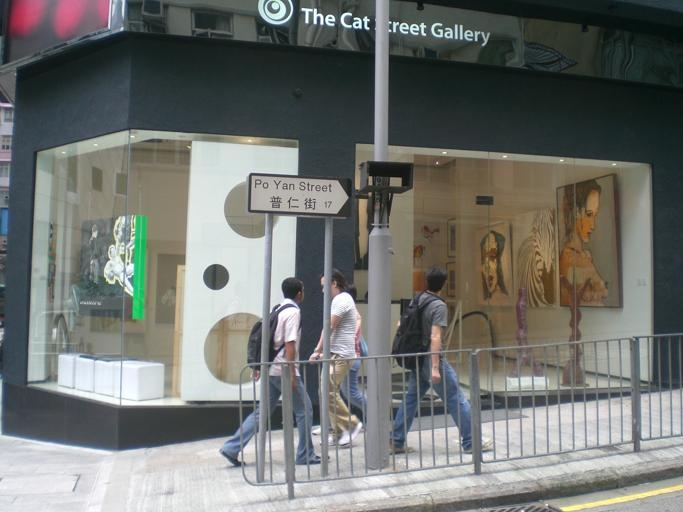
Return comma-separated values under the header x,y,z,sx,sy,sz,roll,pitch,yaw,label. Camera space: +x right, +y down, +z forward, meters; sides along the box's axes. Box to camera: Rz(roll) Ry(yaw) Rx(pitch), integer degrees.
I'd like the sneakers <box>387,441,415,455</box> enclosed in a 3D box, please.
x,y,z,sx,sy,sz,roll,pitch,yaw,label
0.758,2.359,8.972,0.387,0.178,0.133,1,-2,-24,sneakers

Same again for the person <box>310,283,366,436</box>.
x,y,z,sx,sy,sz,roll,pitch,yaw,label
-0.063,1.395,9.495,0.804,2.675,0.859,-1,-29,5,person

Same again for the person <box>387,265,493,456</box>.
x,y,z,sx,sy,sz,roll,pitch,yaw,label
1.117,1.279,9.220,0.972,2.289,0.677,-1,-5,7,person

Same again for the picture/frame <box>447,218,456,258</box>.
x,y,z,sx,sy,sz,roll,pitch,yaw,label
1.818,-0.287,12.124,0.186,0.605,0.063,3,-5,-32,picture/frame

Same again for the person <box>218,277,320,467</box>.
x,y,z,sx,sy,sz,roll,pitch,yaw,label
-0.837,1.438,9.088,1.095,2.360,1.071,0,-5,5,person

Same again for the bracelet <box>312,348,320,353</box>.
x,y,z,sx,sy,sz,roll,pitch,yaw,label
-0.373,1.347,10.555,0.137,0.044,0.150,0,-1,14,bracelet
